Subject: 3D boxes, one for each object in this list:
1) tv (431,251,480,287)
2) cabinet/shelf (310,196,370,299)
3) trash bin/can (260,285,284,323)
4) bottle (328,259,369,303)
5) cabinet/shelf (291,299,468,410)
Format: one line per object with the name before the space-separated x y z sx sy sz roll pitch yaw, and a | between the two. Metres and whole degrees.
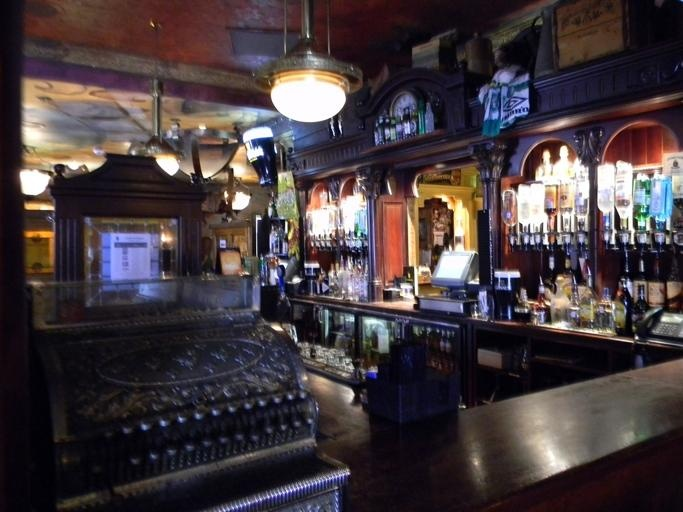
tv | 0.961 0.127 4.737 0.204 0.319 0.348 1 1 -41
cabinet/shelf | -0.012 -0.103 6.299 0.371 1.304 1.116 -2 1 -28
trash bin/can | -0.376 0.239 2.896 0.121 0.182 0.100 8 0 -30
bottle | 0.077 0.272 6.045 0.389 0.555 0.415 1 -6 0
cabinet/shelf | 0.237 0.924 5.672 1.673 0.960 0.325 7 14 24
